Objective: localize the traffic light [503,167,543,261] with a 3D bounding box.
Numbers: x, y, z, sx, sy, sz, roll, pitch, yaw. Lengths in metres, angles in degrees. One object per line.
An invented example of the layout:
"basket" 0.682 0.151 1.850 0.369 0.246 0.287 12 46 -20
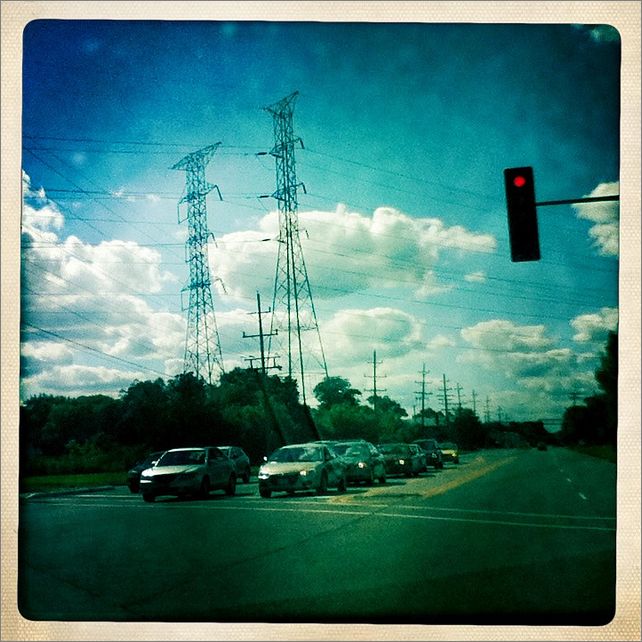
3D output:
"traffic light" 3.147 -1.635 12.102 0.493 1.465 0.212 5 21 42

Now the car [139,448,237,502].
"car" -3.170 3.862 20.031 1.160 0.834 2.420 -5 -15 13

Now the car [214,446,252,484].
"car" -2.529 4.115 22.971 0.775 0.661 1.552 -4 -18 12

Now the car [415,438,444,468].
"car" 4.673 5.607 33.549 0.788 0.829 1.768 -2 -17 7

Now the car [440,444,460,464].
"car" 6.422 6.627 39.509 0.908 0.804 1.686 -4 -20 9

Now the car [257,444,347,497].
"car" -0.446 3.628 19.153 2.394 1.160 1.481 1 -3 -22
